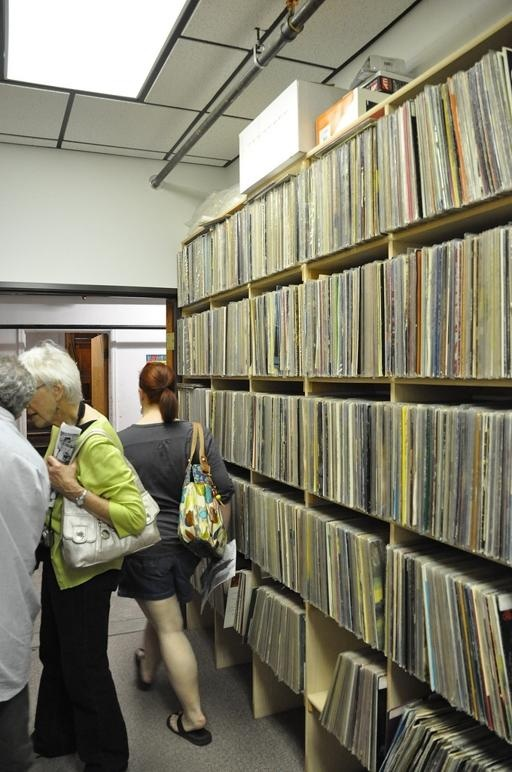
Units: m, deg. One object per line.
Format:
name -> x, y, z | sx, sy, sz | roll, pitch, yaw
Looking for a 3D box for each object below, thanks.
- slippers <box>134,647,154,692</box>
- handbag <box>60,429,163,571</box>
slippers -> -0.516, 1.322, 2.494 | 0.060, 0.244, 0.091 | -2, -9, -12
handbag -> -0.417, 0.367, 1.583 | 0.110, 0.256, 0.317 | -1, -4, 36
